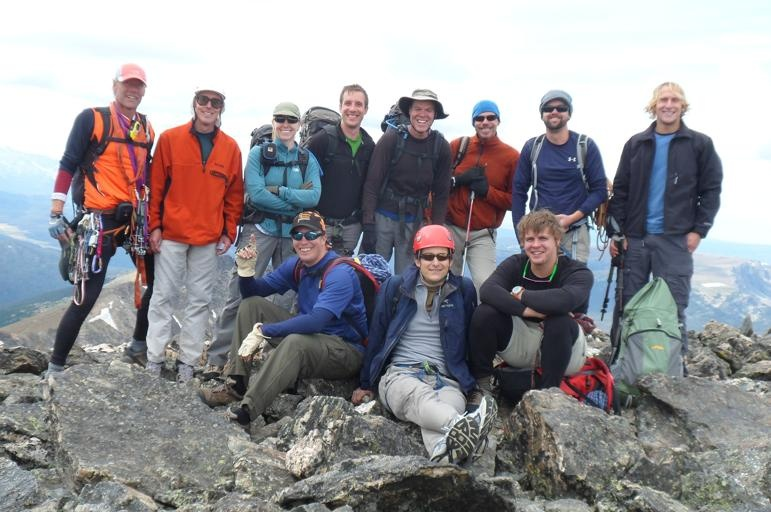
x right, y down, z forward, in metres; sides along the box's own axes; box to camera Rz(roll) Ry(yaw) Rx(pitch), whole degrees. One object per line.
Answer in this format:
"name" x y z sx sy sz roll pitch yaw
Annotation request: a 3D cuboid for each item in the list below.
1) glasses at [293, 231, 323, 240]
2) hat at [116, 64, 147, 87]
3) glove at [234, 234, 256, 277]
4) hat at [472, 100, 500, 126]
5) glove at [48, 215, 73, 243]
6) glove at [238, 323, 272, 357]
"glasses" -1.387 -0.358 10.399 0.518 0.203 0.119 3 11 -14
"hat" -4.603 -3.304 10.644 0.456 0.336 0.566 -2 13 -35
"glove" -2.510 0.036 10.819 0.444 0.303 0.881 2 46 -2
"hat" 2.152 -3.076 12.457 0.510 0.474 0.832 7 11 7
"glove" -5.863 -0.483 10.591 0.358 0.482 0.287 -1 12 -29
"glove" -2.225 1.502 10.058 0.255 0.696 0.419 49 -16 -31
